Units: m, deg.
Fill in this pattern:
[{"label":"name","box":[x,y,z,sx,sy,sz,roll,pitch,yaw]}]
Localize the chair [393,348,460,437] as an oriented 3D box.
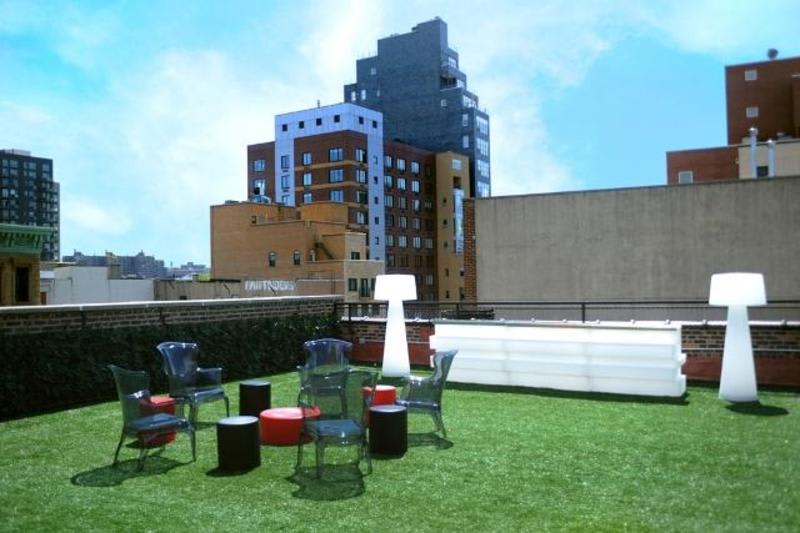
[{"label":"chair","box":[0.487,2.414,14.043,1.148,1.576,0.993,-3,9,-17]}]
